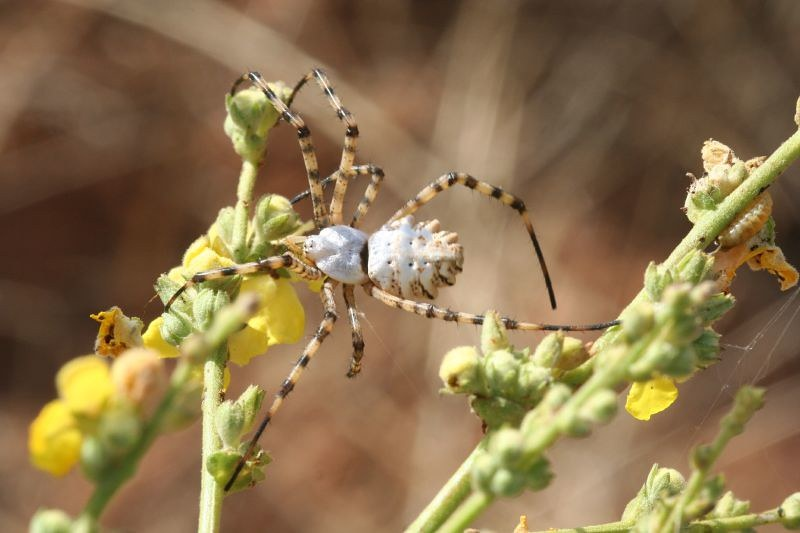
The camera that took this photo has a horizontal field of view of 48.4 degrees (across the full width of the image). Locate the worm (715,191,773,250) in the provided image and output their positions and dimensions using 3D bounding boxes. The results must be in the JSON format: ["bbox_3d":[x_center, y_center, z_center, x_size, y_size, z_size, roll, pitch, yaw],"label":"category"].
[{"bbox_3d":[0.626,-0.079,1.599,0.035,0.067,0.113,33,-77,-32],"label":"worm"}]
